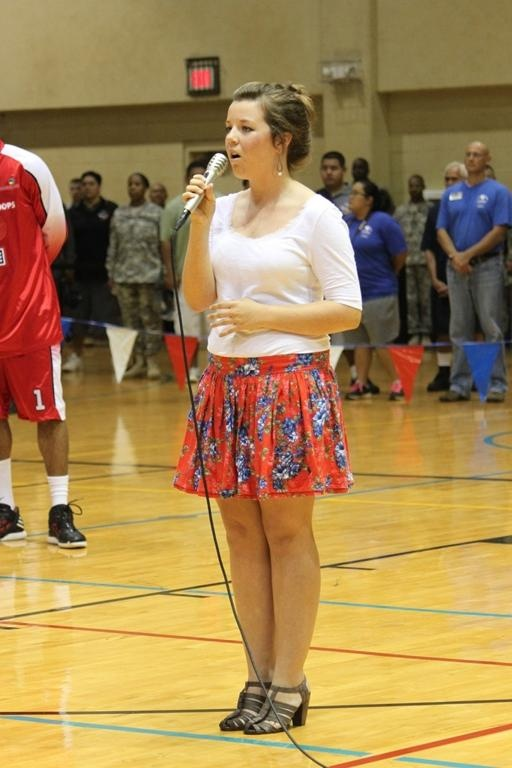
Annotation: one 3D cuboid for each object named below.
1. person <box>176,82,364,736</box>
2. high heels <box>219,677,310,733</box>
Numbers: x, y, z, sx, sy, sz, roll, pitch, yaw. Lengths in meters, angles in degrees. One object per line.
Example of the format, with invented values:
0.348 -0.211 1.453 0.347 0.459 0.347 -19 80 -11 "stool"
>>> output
0.007 0.031 1.503 0.374 1.197 0.269 -2 -2 21 "person"
0.014 0.580 1.469 0.140 0.066 0.088 4 -9 -36 "high heels"
